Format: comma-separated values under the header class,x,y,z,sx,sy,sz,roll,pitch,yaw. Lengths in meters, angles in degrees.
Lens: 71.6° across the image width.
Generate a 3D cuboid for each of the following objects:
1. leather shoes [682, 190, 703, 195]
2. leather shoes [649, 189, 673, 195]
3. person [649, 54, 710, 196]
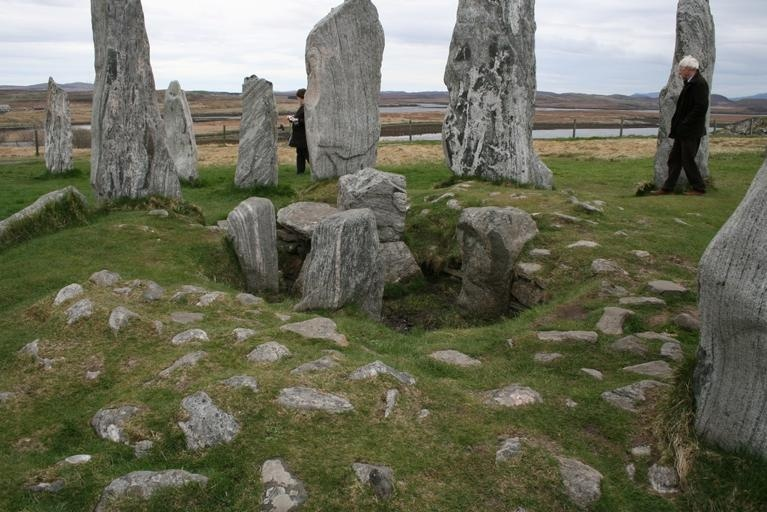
class,x,y,z,sx,sy,sz,roll,pitch,yaw
leather shoes,6.958,-1.451,11.994,0.404,0.176,0.134,8,12,28
leather shoes,6.321,-1.485,12.137,0.406,0.155,0.141,4,7,33
person,6.540,-2.696,11.472,0.690,2.741,0.854,12,19,36
